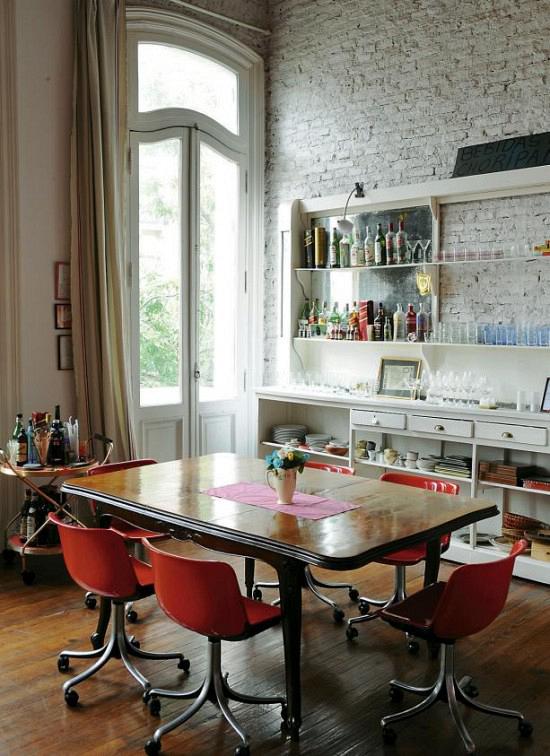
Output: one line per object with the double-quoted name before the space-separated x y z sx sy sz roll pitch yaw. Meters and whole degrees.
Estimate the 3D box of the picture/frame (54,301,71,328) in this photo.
"picture/frame" -1.503 -0.455 4.579 0.027 0.213 0.191 1 2 38

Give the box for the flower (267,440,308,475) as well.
"flower" 0.027 0.324 2.631 0.170 0.125 0.166 -3 4 -43

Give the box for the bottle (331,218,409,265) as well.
"bottle" 0.743 -1.037 4.916 0.415 0.244 0.084 5 9 41

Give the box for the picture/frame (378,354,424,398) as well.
"picture/frame" 0.933 -0.006 4.745 0.031 0.286 0.305 16 -13 -39

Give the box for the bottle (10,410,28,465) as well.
"bottle" -1.541 0.362 3.894 0.101 0.322 0.290 0 0 -27

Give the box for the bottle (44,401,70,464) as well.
"bottle" -1.306 0.340 3.936 0.113 0.367 0.199 0 0 2

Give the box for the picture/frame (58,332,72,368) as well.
"picture/frame" -1.497 -0.194 4.614 0.034 0.261 0.119 0 0 32

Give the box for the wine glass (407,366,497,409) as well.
"wine glass" 1.213 0.061 4.404 0.208 0.250 0.676 1 5 -36
